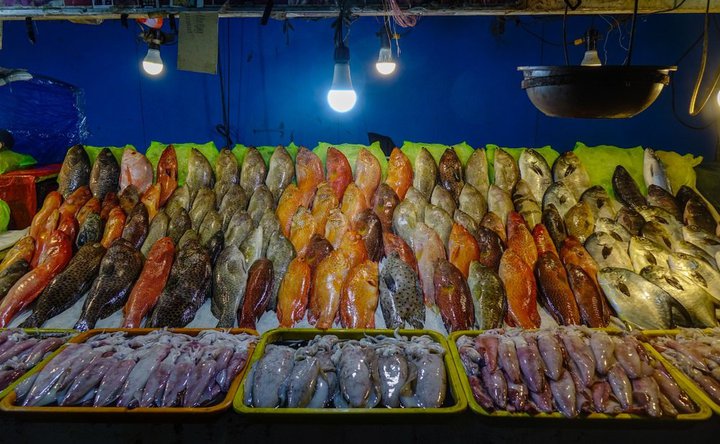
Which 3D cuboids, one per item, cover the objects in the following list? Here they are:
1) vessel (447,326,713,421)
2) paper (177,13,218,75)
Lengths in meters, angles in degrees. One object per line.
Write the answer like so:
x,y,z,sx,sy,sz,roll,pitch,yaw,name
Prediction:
1.791,1.297,4.372,1.515,0.872,0.316,2,-47,2,vessel
-1.853,-2.056,5.905,0.451,0.472,0.560,4,-39,-1,paper
